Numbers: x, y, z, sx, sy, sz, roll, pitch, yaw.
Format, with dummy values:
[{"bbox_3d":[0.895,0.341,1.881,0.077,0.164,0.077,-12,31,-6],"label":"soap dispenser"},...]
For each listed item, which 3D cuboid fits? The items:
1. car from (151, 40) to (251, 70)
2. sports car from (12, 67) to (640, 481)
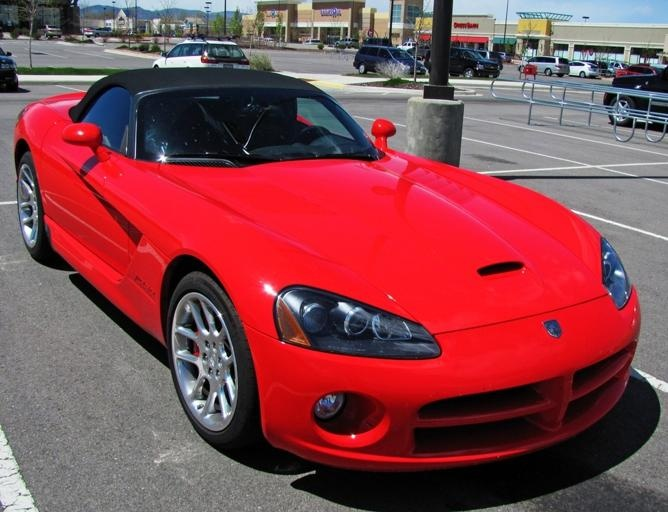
[{"bbox_3d":[-6.086,-9.488,23.960,3.693,1.191,2.005,1,18,-5],"label":"car"},{"bbox_3d":[-0.204,-0.207,3.235,3.674,1.856,1.971,19,24,41],"label":"sports car"}]
